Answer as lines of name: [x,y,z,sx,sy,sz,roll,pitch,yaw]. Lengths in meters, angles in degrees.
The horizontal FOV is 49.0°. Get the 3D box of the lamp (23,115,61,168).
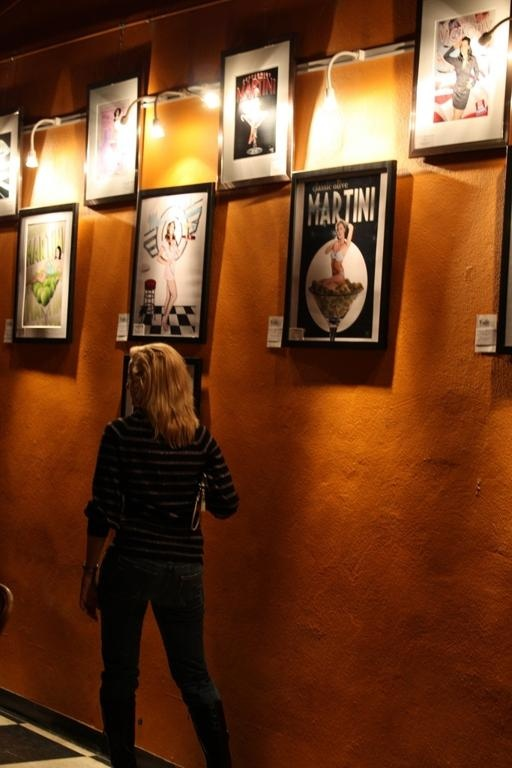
lamp: [-1.048,-1.188,2.778,0.160,0.280,0.067,2,-10,-24]

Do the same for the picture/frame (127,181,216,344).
picture/frame: [-0.359,-0.492,2.315,0.430,0.425,0.032,7,3,35]

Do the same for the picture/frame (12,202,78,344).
picture/frame: [-1.039,-0.546,2.803,0.040,1.023,0.635,4,-2,-43]

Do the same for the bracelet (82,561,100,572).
bracelet: [-0.528,0.584,1.808,0.032,0.020,0.047,4,-5,-4]
